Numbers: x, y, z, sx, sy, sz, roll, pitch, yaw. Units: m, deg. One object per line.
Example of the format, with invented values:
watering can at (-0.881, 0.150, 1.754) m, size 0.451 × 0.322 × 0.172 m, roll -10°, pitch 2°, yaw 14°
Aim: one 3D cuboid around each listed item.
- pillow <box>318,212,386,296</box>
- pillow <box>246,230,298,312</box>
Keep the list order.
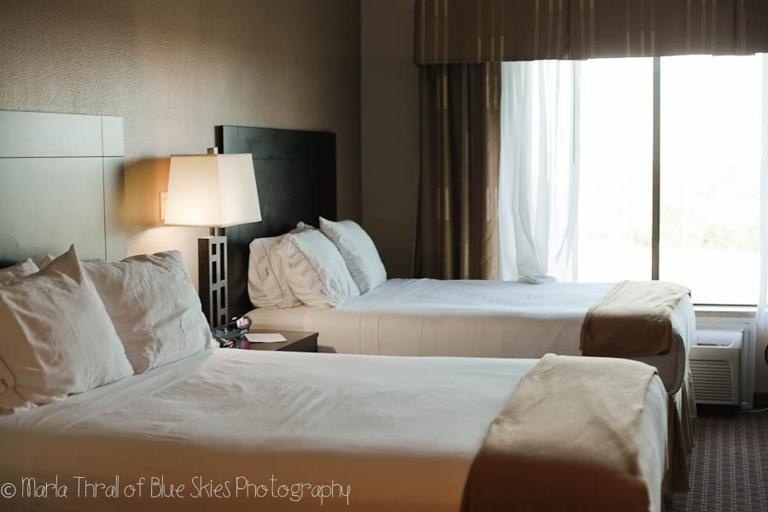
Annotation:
pillow at (-0.224, -0.029, 4.899) m, size 0.173 × 0.587 × 0.603 m, roll -24°, pitch -2°, yaw 21°
pillow at (-0.832, 0.097, 4.243) m, size 0.457 × 0.475 × 0.144 m, roll -1°, pitch -5°, yaw -3°
